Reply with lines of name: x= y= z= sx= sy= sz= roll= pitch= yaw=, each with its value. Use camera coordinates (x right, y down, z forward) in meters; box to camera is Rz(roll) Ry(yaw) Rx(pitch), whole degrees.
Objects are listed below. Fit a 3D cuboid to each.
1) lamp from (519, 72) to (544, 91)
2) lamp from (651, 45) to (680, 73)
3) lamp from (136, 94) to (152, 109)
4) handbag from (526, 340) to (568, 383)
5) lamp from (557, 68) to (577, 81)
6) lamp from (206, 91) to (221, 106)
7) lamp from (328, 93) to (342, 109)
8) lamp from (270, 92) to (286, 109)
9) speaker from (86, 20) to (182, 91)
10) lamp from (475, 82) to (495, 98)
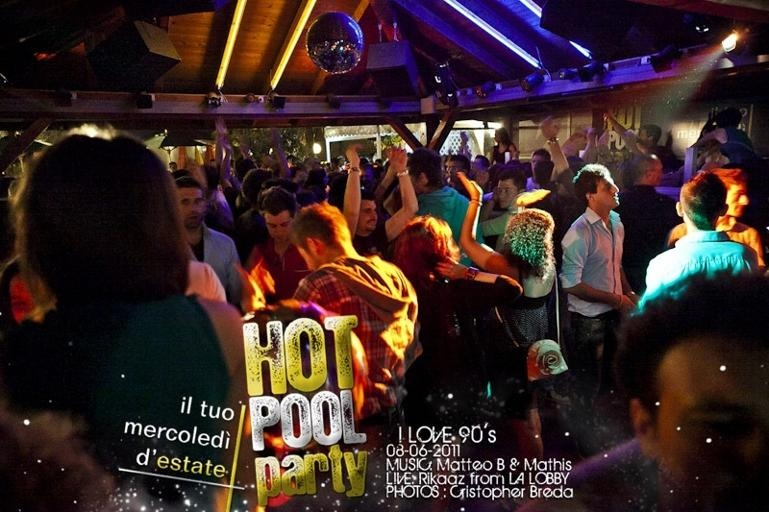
lamp: x=1.959 y=-2.325 z=7.190 sx=0.303 sy=0.234 sz=0.233 roll=-3 pitch=3 yaw=-2
lamp: x=2.934 y=-2.046 z=5.633 sx=0.207 sy=0.167 sz=0.287 roll=41 pitch=-36 yaw=-19
lamp: x=-2.994 y=-1.939 z=6.723 sx=0.177 sy=0.147 sz=0.105 roll=-4 pitch=3 yaw=-26
handbag: x=1.090 y=0.696 z=3.622 sx=0.276 sy=0.278 sz=0.258 roll=-3 pitch=-8 yaw=12
lamp: x=2.253 y=-2.239 z=6.669 sx=0.219 sy=0.084 sz=0.127 roll=-12 pitch=28 yaw=-29
lamp: x=-2.302 y=-2.102 z=7.262 sx=0.148 sy=0.072 sz=0.202 roll=4 pitch=22 yaw=-3
lamp: x=-0.750 y=-2.308 z=8.086 sx=0.214 sy=0.168 sz=0.160 roll=-4 pitch=3 yaw=-16
lamp: x=-1.525 y=-2.173 z=7.678 sx=0.221 sy=0.215 sz=0.304 roll=0 pitch=-9 yaw=-21
speaker: x=-2.598 y=-2.068 z=5.476 sx=0.896 sy=0.531 sz=0.664 roll=0 pitch=4 yaw=41
lamp: x=1.439 y=-2.418 z=7.873 sx=0.339 sy=0.214 sz=0.262 roll=-1 pitch=3 yaw=26
